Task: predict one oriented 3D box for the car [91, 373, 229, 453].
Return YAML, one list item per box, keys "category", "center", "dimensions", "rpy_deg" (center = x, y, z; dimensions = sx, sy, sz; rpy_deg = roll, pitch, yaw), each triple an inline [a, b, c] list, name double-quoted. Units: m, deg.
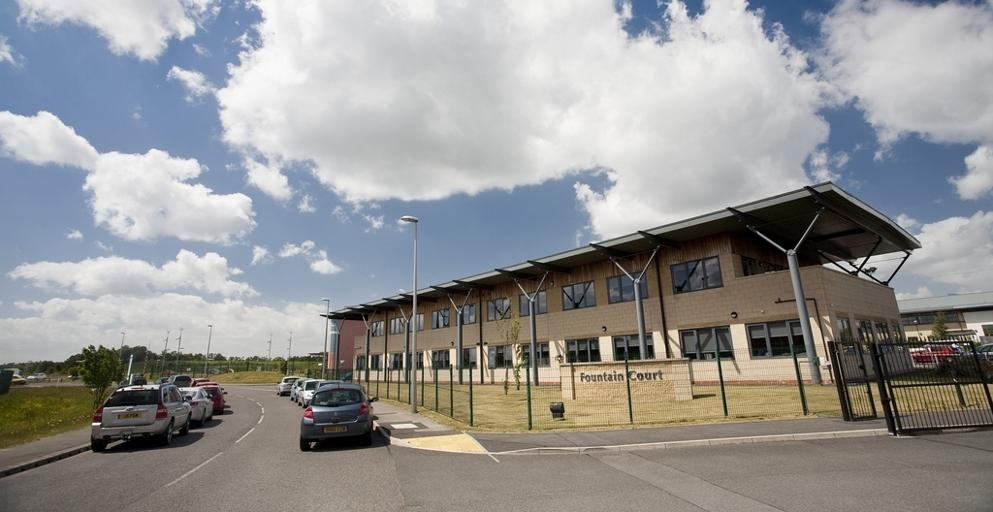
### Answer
- category: "car"
  center: [-19.690, 8.994, 29.422]
  dimensions: [3.592, 2.535, 7.444]
  rpy_deg: [0, -11, -10]
